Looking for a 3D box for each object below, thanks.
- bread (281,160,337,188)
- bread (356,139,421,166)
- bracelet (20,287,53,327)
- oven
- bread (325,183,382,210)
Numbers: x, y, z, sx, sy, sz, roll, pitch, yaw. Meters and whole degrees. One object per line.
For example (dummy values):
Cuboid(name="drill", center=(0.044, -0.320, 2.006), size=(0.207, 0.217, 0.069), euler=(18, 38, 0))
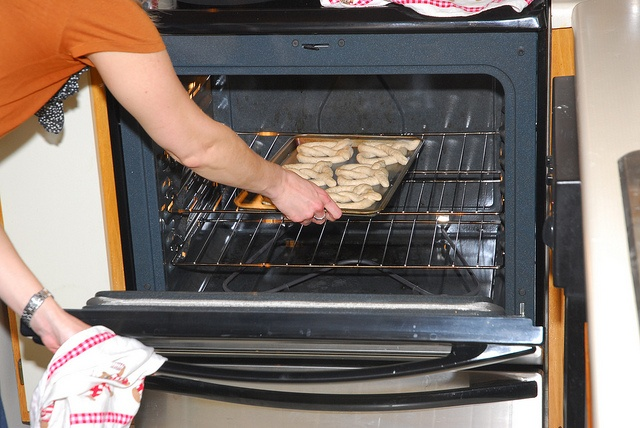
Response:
Cuboid(name="bread", center=(-0.011, -0.114, 1.540), size=(0.102, 0.023, 0.091), euler=(4, 22, -10))
Cuboid(name="bread", center=(0.196, -0.180, 1.580), size=(0.122, 0.027, 0.110), euler=(-5, 26, -2))
Cuboid(name="bracelet", center=(-0.474, 0.155, 0.941), size=(0.016, 0.058, 0.056), euler=(35, 37, -8))
Cuboid(name="oven", center=(0.058, -0.117, 1.352), size=(0.793, 0.825, 0.962), euler=(1, 25, 5))
Cuboid(name="bread", center=(0.089, -0.037, 1.434), size=(0.096, 0.023, 0.087), euler=(-2, 23, -5))
